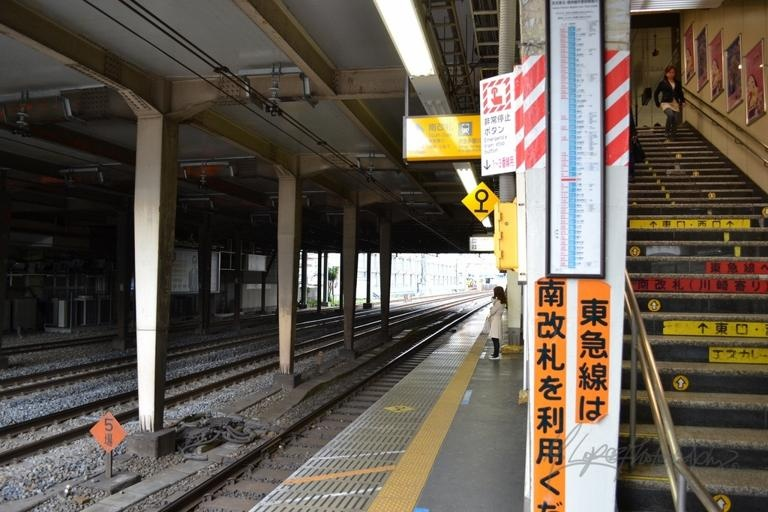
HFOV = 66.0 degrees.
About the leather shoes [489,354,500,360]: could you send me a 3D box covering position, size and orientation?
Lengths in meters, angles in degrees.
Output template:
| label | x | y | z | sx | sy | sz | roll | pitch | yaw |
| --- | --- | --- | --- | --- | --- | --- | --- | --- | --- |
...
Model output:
| label | x | y | z | sx | sy | sz | roll | pitch | yaw |
| --- | --- | --- | --- | --- | --- | --- | --- | --- | --- |
| leather shoes | 3.070 | 2.813 | 16.526 | 0.117 | 0.123 | 0.309 | 10 | -9 | -32 |
